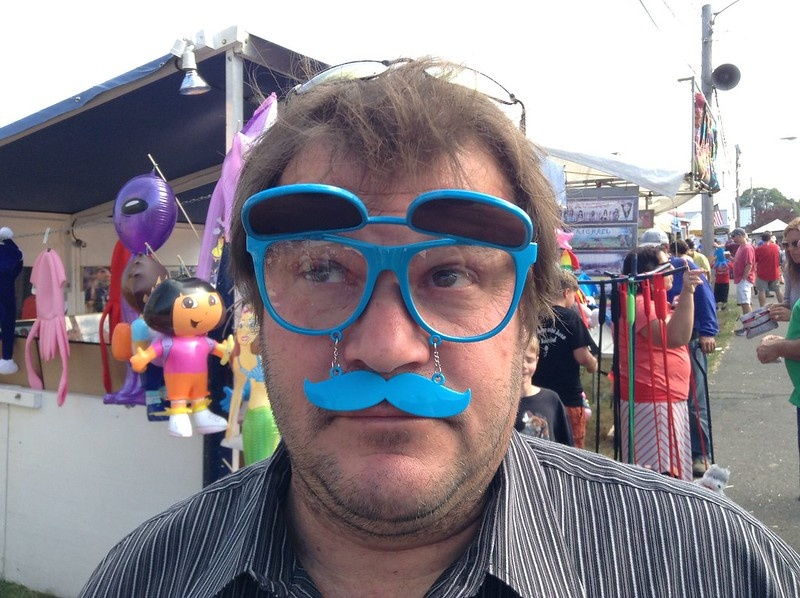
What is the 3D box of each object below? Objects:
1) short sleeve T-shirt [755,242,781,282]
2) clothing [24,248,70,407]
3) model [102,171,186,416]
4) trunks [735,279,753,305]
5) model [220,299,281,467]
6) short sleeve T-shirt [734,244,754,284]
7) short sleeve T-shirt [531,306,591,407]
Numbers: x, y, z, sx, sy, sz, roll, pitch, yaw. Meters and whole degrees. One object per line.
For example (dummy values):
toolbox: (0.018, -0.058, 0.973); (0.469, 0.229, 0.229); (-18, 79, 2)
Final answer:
short sleeve T-shirt: (6.058, -0.612, 15.258); (0.515, 0.665, 0.333); (8, 13, 41)
clothing: (-2.807, 0.195, 7.396); (0.266, 1.204, 0.658); (-10, 14, -37)
model: (-1.996, -0.021, 7.091); (0.570, 1.771, 0.581); (-2, 3, -6)
trunks: (5.938, -0.134, 15.983); (0.231, 0.443, 0.308); (-7, -18, 33)
model: (-0.978, 0.743, 6.496); (0.459, 1.493, 0.253); (4, 13, 20)
short sleeve T-shirt: (5.983, -0.624, 16.111); (0.371, 0.741, 0.672); (3, 1, 8)
short sleeve T-shirt: (1.280, 0.494, 7.773); (0.649, 0.863, 0.314); (12, 32, 23)
